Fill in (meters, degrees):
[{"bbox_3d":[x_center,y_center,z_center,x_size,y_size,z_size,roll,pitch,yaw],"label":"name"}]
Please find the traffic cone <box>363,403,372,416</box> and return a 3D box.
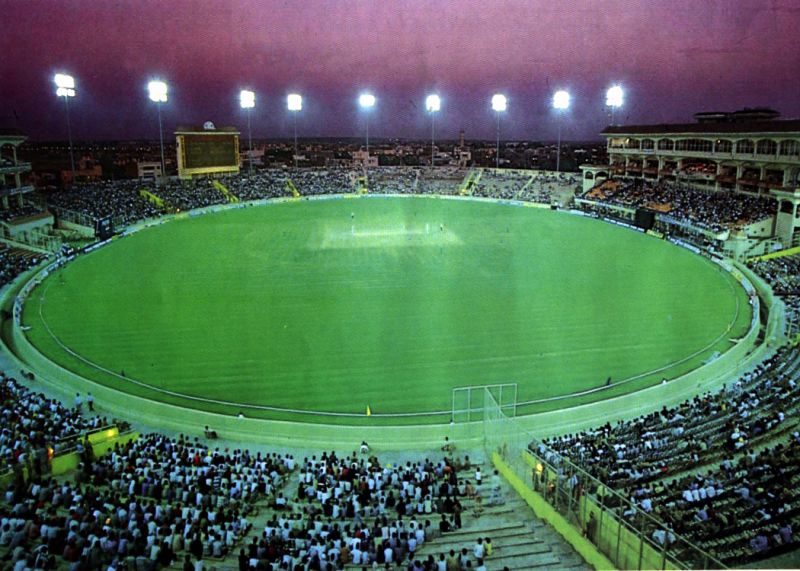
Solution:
[{"bbox_3d":[-1.544,6.178,30.891,0.331,0.326,0.364,-2,47,-1],"label":"traffic cone"}]
